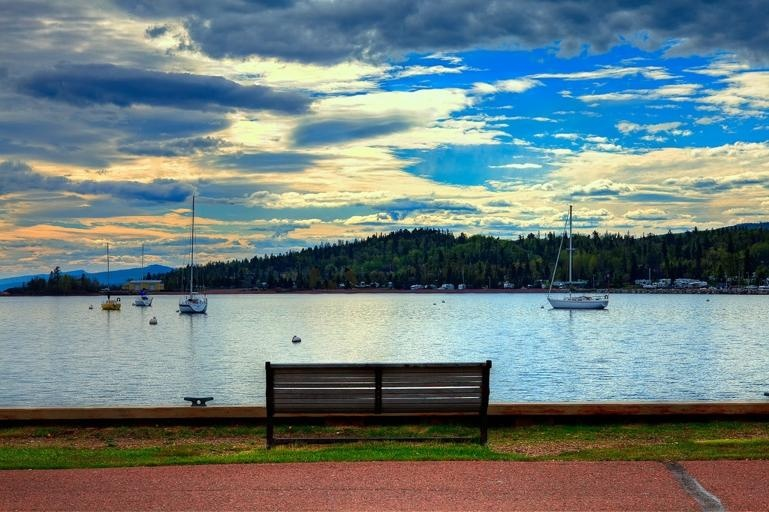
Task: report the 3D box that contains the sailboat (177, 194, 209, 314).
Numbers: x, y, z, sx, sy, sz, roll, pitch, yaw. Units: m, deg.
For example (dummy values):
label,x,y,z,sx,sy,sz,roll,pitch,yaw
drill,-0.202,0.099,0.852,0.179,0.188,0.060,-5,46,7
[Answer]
label,x,y,z,sx,sy,sz,roll,pitch,yaw
sailboat,-29.497,1.365,171.872,4.828,16.548,11.866,3,6,4

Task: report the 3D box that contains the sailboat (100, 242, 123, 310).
label,x,y,z,sx,sy,sz,roll,pitch,yaw
sailboat,-51.537,4.998,208.186,2.969,10.843,7.997,-5,-8,-6
